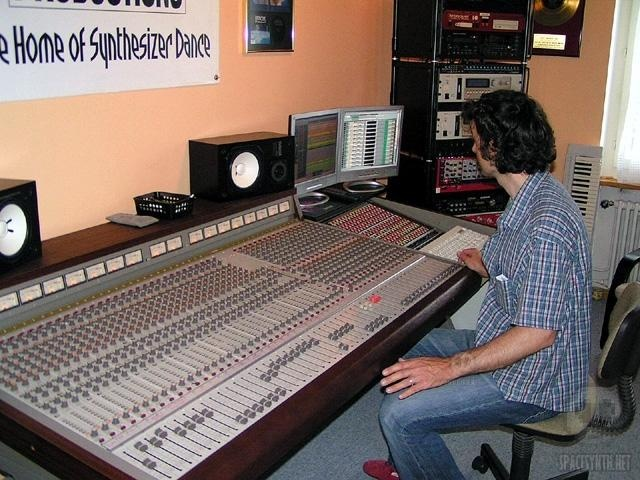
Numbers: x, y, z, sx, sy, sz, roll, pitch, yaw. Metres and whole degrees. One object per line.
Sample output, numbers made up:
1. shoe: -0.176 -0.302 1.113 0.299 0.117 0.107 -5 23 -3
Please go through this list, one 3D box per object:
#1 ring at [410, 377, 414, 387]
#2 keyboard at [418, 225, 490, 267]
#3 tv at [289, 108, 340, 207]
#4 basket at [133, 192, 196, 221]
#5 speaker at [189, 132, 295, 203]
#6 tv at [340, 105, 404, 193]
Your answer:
1. ring: 0.323 0.503 1.618 0.014 0.021 0.022 -20 -6 3
2. keyboard: 0.709 0.015 2.359 0.171 0.040 0.291 22 38 30
3. tv: -0.034 -0.492 2.705 0.055 0.476 0.507 18 41 37
4. basket: -0.720 -0.158 2.085 0.252 0.083 0.201 10 24 27
5. speaker: -0.382 -0.371 2.344 0.555 0.276 0.272 -7 22 -15
6. tv: 0.326 -0.611 2.998 0.636 0.575 0.048 -14 26 -28
